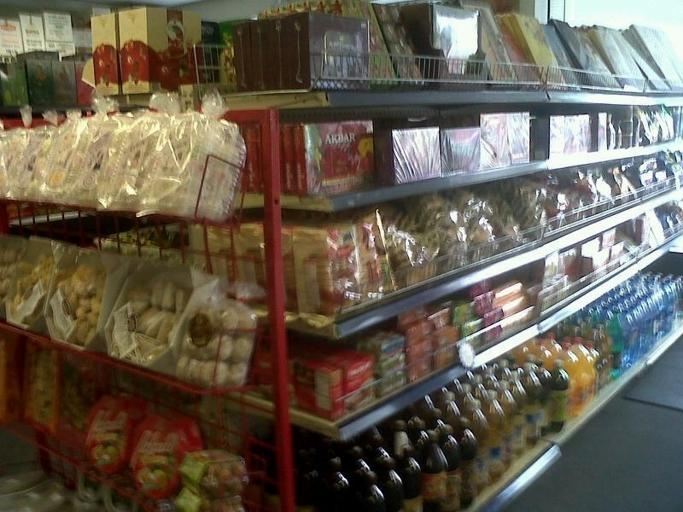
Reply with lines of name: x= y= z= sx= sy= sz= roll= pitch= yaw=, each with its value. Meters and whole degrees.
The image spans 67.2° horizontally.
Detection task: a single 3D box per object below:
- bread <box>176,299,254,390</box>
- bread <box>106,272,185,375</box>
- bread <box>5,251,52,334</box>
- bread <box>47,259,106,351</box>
bread: x=-0.418 y=0.297 z=1.731 sx=0.285 sy=0.246 sz=0.165 roll=-10 pitch=24 yaw=-15
bread: x=-0.666 y=0.229 z=1.848 sx=0.228 sy=0.369 sz=0.112 roll=12 pitch=-6 yaw=25
bread: x=-1.299 y=0.156 z=2.134 sx=0.094 sy=0.337 sz=0.211 roll=15 pitch=-8 yaw=-42
bread: x=-0.981 y=0.183 z=1.997 sx=0.229 sy=0.350 sz=0.099 roll=3 pitch=-3 yaw=44
